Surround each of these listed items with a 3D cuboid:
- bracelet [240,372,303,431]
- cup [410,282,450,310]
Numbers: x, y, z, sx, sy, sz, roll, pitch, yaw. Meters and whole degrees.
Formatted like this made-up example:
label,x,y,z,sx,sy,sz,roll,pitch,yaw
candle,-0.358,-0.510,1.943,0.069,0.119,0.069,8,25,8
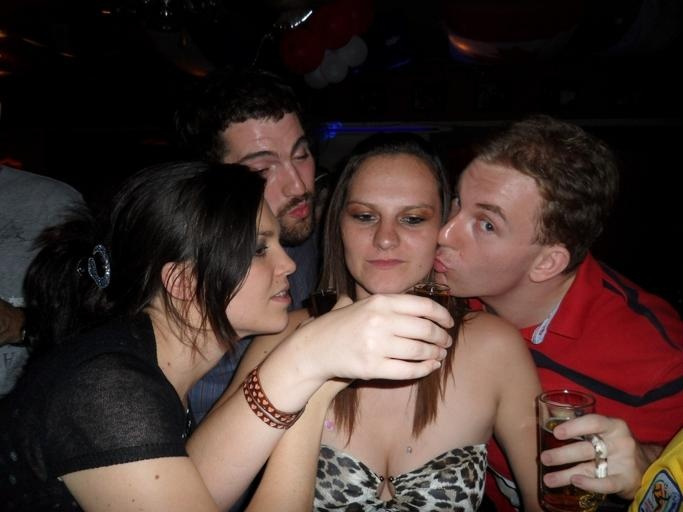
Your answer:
label,x,y,z,sx,sy,sz,roll,pitch,yaw
bracelet,-0.344,0.709,2.884,0.281,0.316,0.080,-2,11,17
cup,0.447,0.199,2.951,0.163,0.123,0.128,2,-1,10
